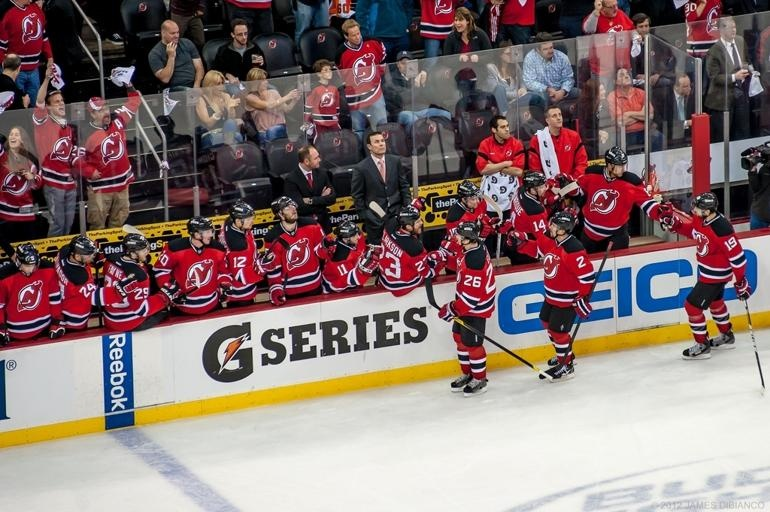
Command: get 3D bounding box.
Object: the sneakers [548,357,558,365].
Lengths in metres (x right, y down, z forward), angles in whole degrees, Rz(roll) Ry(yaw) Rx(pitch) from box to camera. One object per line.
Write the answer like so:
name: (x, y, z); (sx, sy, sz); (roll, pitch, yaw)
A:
sneakers: (2.190, 1.370, 14.103); (0.064, 0.055, 0.150); (-1, -2, -40)

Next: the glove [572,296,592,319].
glove: (2.489, 0.656, 13.628); (0.096, 0.270, 0.197); (-7, 19, -23)

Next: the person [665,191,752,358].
person: (4.289, 0.341, 14.433); (1.270, 2.341, 1.006); (-2, 36, 9)

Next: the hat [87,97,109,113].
hat: (-3.652, -1.942, 13.791); (0.193, 0.209, 0.156); (10, 35, 26)

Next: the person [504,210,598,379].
person: (2.147, 0.581, 14.101); (1.005, 2.415, 1.254); (-7, 24, -12)

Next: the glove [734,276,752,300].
glove: (4.617, 0.432, 14.025); (0.124, 0.320, 0.265); (-9, 2, 43)

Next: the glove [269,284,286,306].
glove: (-1.356, 0.487, 13.626); (0.184, 0.250, 0.087); (-22, -4, -20)

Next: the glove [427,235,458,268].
glove: (0.776, -0.043, 13.979); (0.396, 0.329, 0.176); (-45, 33, 18)

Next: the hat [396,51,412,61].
hat: (0.293, -2.964, 16.056); (0.258, 0.126, 0.423); (0, 7, -3)

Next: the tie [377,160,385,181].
tie: (-0.046, -1.151, 14.501); (0.080, 0.249, 0.032); (-13, -9, -18)

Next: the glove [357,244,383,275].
glove: (-0.167, 0.039, 13.808); (0.184, 0.403, 0.234); (25, 14, -35)

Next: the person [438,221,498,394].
person: (1.050, 0.646, 13.595); (0.659, 2.189, 0.371); (-3, 11, 27)

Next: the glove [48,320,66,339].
glove: (-3.963, 0.867, 13.024); (0.181, 0.202, 0.174); (-11, 10, -15)

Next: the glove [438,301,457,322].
glove: (0.783, 0.698, 13.569); (0.217, 0.218, 0.088); (-40, -37, 20)
